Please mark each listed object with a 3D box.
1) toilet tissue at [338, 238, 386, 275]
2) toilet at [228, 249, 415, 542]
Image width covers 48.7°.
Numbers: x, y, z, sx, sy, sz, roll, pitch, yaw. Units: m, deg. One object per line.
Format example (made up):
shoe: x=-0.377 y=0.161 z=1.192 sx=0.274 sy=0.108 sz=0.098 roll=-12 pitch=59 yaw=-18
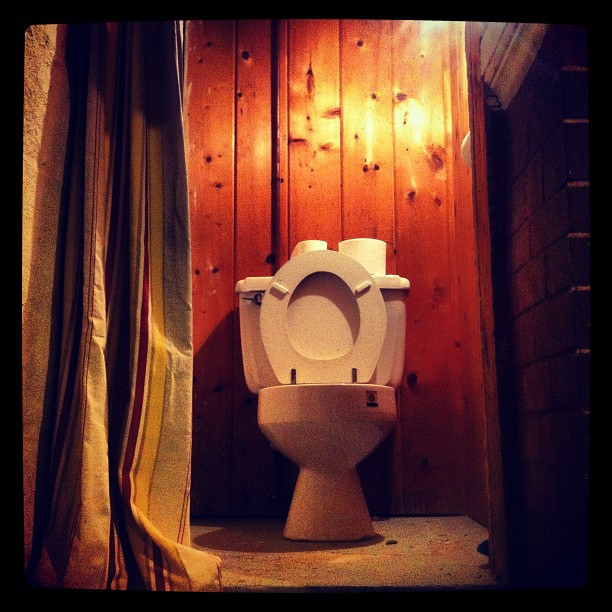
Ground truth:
toilet tissue: x=0.201 y=-0.176 z=2.249 sx=0.113 sy=0.105 sz=0.128 roll=0 pitch=-2 yaw=-7
toilet: x=0.063 y=0.262 z=2.063 sx=0.489 sy=0.867 sz=0.731 roll=0 pitch=-4 yaw=3
